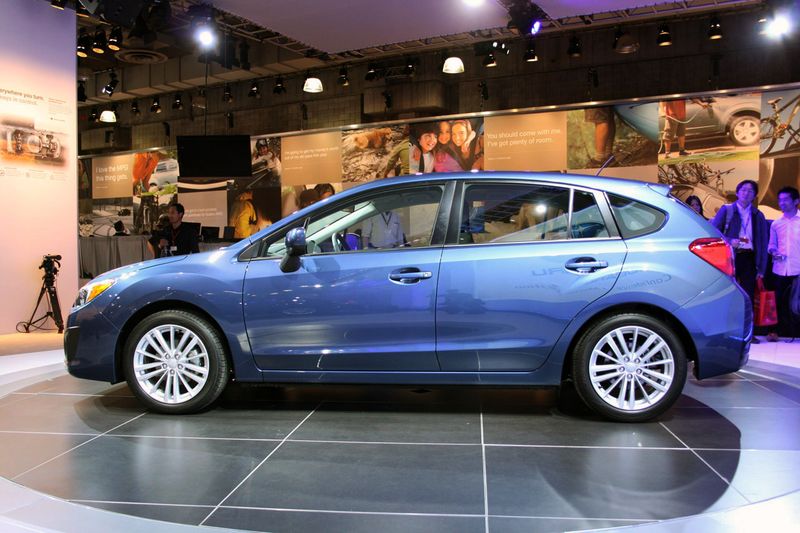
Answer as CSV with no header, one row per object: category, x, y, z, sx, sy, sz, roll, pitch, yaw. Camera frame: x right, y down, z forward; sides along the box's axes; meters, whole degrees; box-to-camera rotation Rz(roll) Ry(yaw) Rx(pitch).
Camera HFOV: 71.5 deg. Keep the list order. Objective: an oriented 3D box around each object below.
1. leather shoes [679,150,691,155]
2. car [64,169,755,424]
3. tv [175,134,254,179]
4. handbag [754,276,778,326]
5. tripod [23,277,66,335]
leather shoes,5.525,-2.203,10.756,0.192,0.063,0.083,5,5,40
car,0.016,0.168,5.293,5.196,1.672,2.359,1,-5,3
tv,-4.234,-2.522,12.732,1.688,0.983,0.140,0,7,0
handbag,4.940,0.489,7.498,0.282,0.747,0.724,-1,-2,24
tripod,-5.795,0.643,8.975,0.561,0.853,0.464,-6,10,-32
